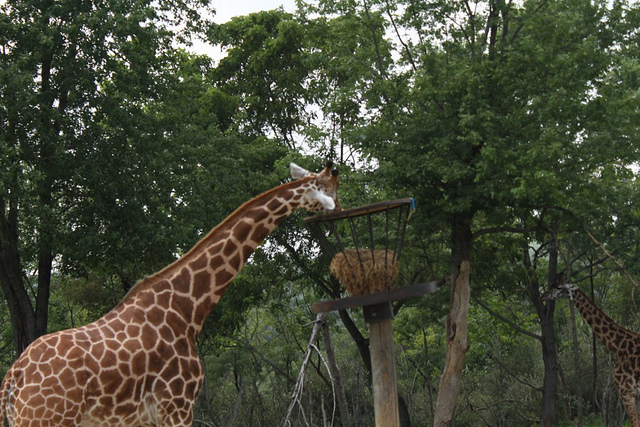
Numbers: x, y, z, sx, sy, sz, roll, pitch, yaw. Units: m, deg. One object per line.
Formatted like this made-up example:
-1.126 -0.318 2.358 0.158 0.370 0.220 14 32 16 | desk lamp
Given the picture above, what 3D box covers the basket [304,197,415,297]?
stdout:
1.326 1.545 23.929 1.928 1.792 2.016 -20 7 -42 | basket
